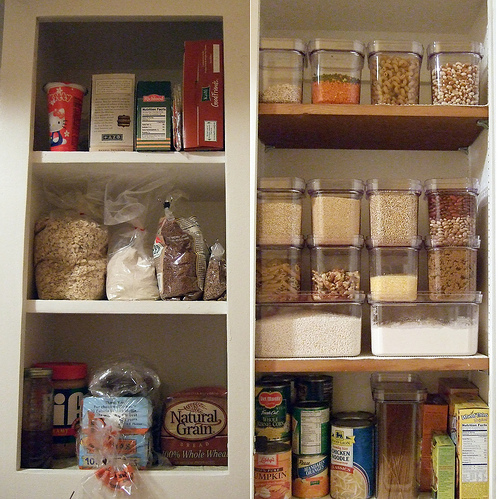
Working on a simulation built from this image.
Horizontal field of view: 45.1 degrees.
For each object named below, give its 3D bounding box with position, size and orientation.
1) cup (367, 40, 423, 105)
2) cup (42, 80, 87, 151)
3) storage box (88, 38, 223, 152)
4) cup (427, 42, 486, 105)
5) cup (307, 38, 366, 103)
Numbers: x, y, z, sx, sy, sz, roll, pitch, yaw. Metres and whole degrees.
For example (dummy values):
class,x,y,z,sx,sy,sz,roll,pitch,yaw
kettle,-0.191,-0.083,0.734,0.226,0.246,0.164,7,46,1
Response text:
class,x,y,z,sx,sy,sz,roll,pitch,yaw
cup,0.369,-0.449,1.578,0.163,0.168,0.163,1,2,0
cup,-0.476,-0.331,1.526,0.133,0.157,0.123,0,8,0
storage box,-0.225,-0.381,1.520,0.336,0.251,0.122,2,6,4
cup,0.515,-0.437,1.564,0.161,0.164,0.155,-1,-5,0
cup,0.213,-0.448,1.570,0.161,0.165,0.157,0,2,0
